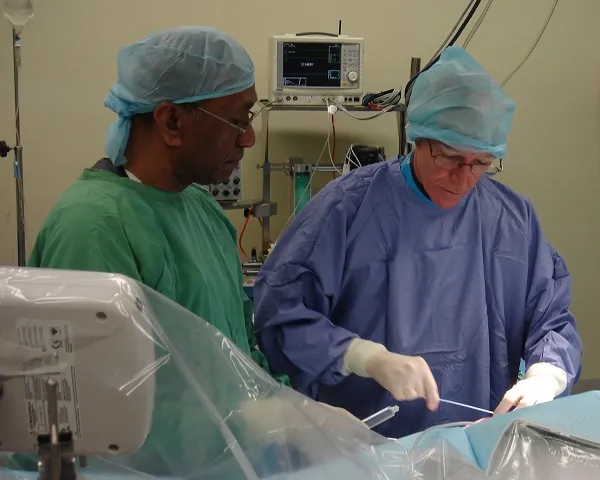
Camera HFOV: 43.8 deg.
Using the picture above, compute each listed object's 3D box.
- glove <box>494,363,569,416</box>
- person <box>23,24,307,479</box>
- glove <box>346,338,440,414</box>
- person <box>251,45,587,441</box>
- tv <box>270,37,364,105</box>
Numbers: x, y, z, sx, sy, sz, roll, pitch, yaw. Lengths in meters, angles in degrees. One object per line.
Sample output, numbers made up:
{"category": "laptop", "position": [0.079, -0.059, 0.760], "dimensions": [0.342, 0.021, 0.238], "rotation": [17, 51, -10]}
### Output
{"category": "glove", "position": [0.661, 0.414, 2.147], "dimensions": [0.056, 0.144, 0.200], "rotation": [23, 20, 35]}
{"category": "person", "position": [-0.318, -0.084, 2.477], "dimensions": [0.787, 1.512, 0.969], "rotation": [-2, 10, -2]}
{"category": "glove", "position": [0.256, 0.362, 2.080], "dimensions": [0.234, 0.167, 0.073], "rotation": [20, 3, 38]}
{"category": "person", "position": [0.409, 0.103, 2.280], "dimensions": [0.935, 1.505, 0.729], "rotation": [3, 3, -6]}
{"category": "tv", "position": [0.068, -0.857, 3.702], "dimensions": [0.451, 0.448, 0.307], "rotation": [-1, 4, -7]}
